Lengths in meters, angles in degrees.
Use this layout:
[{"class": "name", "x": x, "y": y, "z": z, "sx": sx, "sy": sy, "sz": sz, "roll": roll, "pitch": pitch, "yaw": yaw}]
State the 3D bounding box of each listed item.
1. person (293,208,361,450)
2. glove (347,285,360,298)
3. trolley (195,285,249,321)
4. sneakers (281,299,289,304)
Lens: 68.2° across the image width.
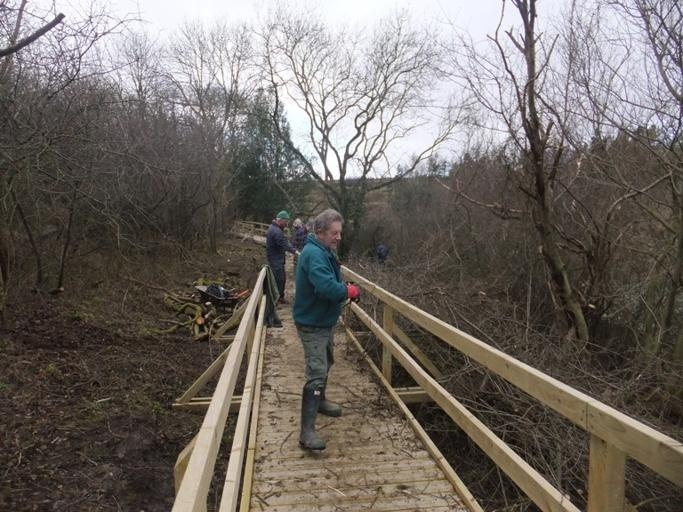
[{"class": "person", "x": -0.250, "y": 0.749, "z": 5.506, "sx": 0.668, "sy": 2.493, "sz": 0.734, "roll": 5, "pitch": 6, "yaw": 38}, {"class": "glove", "x": 0.122, "y": 0.402, "z": 5.578, "sx": 0.166, "sy": 0.110, "sz": 0.265, "roll": 1, "pitch": 0, "yaw": -1}, {"class": "trolley", "x": -2.628, "y": 0.958, "z": 11.128, "sx": 0.914, "sy": 0.534, "sz": 0.722, "roll": 19, "pitch": -4, "yaw": -18}, {"class": "sneakers", "x": -1.225, "y": 1.014, "z": 10.993, "sx": 0.226, "sy": 0.074, "sz": 0.138, "roll": 8, "pitch": -8, "yaw": -8}]
